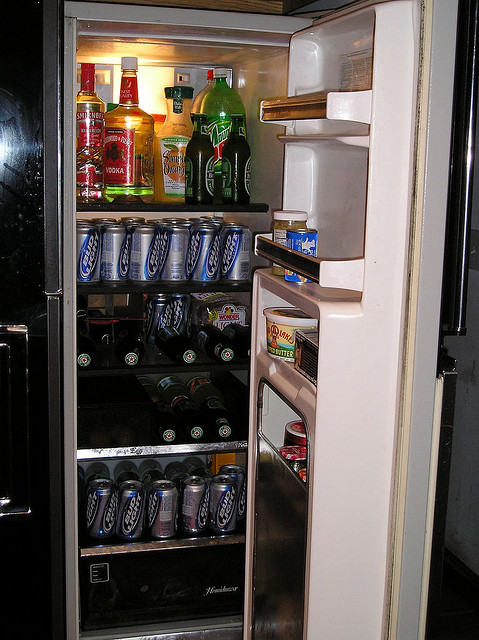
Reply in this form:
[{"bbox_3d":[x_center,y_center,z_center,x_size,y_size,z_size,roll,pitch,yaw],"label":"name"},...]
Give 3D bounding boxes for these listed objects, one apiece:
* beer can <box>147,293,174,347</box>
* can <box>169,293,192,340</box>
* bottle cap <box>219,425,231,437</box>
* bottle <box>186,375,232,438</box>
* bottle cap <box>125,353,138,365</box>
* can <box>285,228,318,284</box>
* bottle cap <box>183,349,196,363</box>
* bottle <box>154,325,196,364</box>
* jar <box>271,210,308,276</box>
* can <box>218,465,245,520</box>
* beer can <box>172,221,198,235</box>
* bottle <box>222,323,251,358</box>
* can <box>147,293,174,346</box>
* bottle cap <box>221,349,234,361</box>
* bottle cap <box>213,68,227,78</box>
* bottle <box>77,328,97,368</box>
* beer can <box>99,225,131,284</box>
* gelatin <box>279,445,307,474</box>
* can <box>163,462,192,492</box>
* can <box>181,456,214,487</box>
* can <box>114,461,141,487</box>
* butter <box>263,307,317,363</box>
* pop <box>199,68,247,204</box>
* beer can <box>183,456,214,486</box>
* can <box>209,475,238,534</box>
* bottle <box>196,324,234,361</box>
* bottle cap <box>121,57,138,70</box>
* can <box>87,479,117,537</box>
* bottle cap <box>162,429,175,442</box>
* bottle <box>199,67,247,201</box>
[{"bbox_3d":[-0.255,-0.002,1.795,0.085,0.153,0.086,9,18,-3],"label":"beer can"},{"bbox_3d":[-0.174,-0.032,1.818,0.071,0.183,0.072,5,42,-4],"label":"can"},{"bbox_3d":[-0.044,0.317,1.647,0.033,0.033,0.012,0,5,-21],"label":"bottle cap"},{"bbox_3d":[-0.095,0.270,1.771,0.079,0.081,0.305,-9,22,-7],"label":"bottle"},{"bbox_3d":[-0.289,0.103,1.534,0.028,0.028,0.028,-3,19,-10],"label":"bottle cap"},{"bbox_3d":[0.113,-0.117,1.054,0.056,0.098,0.083,2,11,4],"label":"can"},{"bbox_3d":[-0.140,0.099,1.589,0.031,0.031,0.012,-8,12,-20],"label":"bottle cap"},{"bbox_3d":[-0.191,0.071,1.658,0.076,0.075,0.209,-2,18,-21],"label":"bottle"},{"bbox_3d":[0.112,-0.146,1.128,0.082,0.138,0.083,-2,16,0],"label":"jar"},{"bbox_3d":[-0.026,0.523,1.736,0.082,0.151,0.083,3,-23,1],"label":"can"},{"bbox_3d":[-0.149,-0.267,1.616,0.047,0.049,0.046,-13,21,-37],"label":"beer can"},{"bbox_3d":[-0.008,0.063,1.657,0.057,0.059,0.206,-8,23,-10],"label":"bottle"},{"bbox_3d":[-0.255,-0.004,1.792,0.082,0.147,0.082,11,19,-4],"label":"can"},{"bbox_3d":[-0.033,0.097,1.618,0.030,0.030,0.031,-5,45,-5],"label":"bottle cap"},{"bbox_3d":[-0.056,-0.694,1.617,0.032,0.019,0.032,-1,24,-3],"label":"bottle cap"},{"bbox_3d":[-0.408,0.077,1.534,0.059,0.065,0.224,-5,19,-14],"label":"bottle"},{"bbox_3d":[-0.331,-0.175,1.525,0.111,0.143,0.110,1,12,0],"label":"beer can"},{"bbox_3d":[0.105,0.266,1.123,0.054,0.017,0.053,6,10,38],"label":"gelatin"},{"bbox_3d":[-0.207,0.498,1.878,0.054,0.057,0.054,-1,-5,6],"label":"can"},{"bbox_3d":[-0.142,0.496,1.921,0.073,0.072,0.128,-1,16,-24],"label":"can"},{"bbox_3d":[-0.338,0.486,1.831,0.068,0.065,0.114,1,-15,-8],"label":"can"},{"bbox_3d":[0.093,0.034,1.114,0.086,0.067,0.087,9,3,30],"label":"butter"},{"bbox_3d":[-0.041,-0.531,1.690,0.120,0.396,0.106,-8,11,-19],"label":"pop"},{"bbox_3d":[-0.142,0.494,1.917,0.068,0.067,0.122,1,16,-25],"label":"beer can"},{"bbox_3d":[-0.046,0.536,1.697,0.083,0.146,0.081,2,8,0],"label":"can"},{"bbox_3d":[-0.070,0.068,1.677,0.056,0.056,0.142,-13,21,-13],"label":"bottle"},{"bbox_3d":[-0.280,-0.652,1.462,0.032,0.023,0.032,0,24,-3],"label":"bottle cap"},{"bbox_3d":[-0.386,0.531,1.619,0.079,0.139,0.078,4,0,0],"label":"can"},{"bbox_3d":[-0.197,0.320,1.608,0.031,0.031,0.008,-5,2,-28],"label":"bottle cap"},{"bbox_3d":[-0.046,-0.523,1.686,0.127,0.421,0.113,-5,1,-29],"label":"bottle"}]
